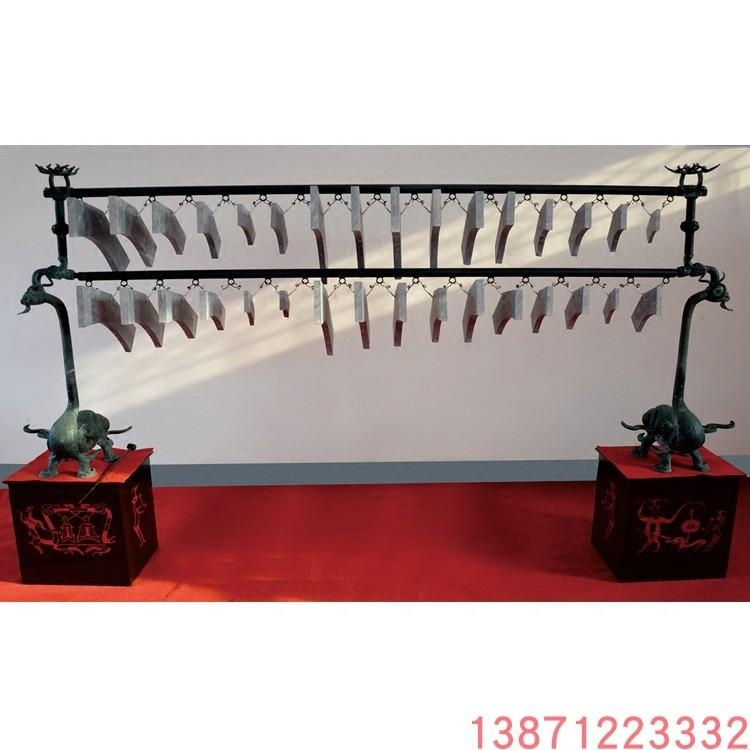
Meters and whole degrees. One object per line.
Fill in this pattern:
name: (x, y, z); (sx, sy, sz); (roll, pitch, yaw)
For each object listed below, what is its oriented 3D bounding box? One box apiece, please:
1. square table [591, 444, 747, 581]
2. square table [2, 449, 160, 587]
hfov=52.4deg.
square table: (1.884, 0.891, 5.096); (0.760, 0.814, 0.799); (-1, 12, -1)
square table: (-1.928, 0.859, 5.099); (0.776, 0.855, 0.820); (0, 4, 0)
